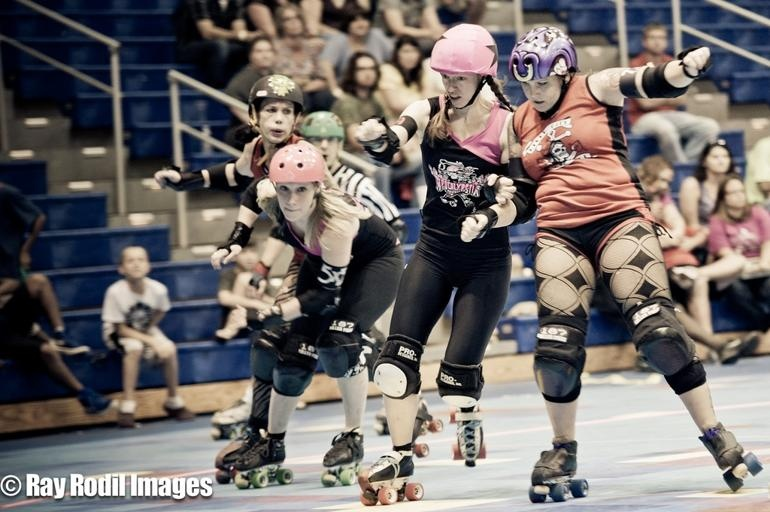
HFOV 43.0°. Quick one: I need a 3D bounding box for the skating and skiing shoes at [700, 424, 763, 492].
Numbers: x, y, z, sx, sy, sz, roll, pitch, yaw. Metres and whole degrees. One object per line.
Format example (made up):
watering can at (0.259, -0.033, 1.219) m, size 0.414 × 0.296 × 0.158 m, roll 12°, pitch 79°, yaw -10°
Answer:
skating and skiing shoes at (2.076, 1.178, 5.965) m, size 0.264 × 0.428 × 0.186 m, roll -44°, pitch -15°, yaw 20°
